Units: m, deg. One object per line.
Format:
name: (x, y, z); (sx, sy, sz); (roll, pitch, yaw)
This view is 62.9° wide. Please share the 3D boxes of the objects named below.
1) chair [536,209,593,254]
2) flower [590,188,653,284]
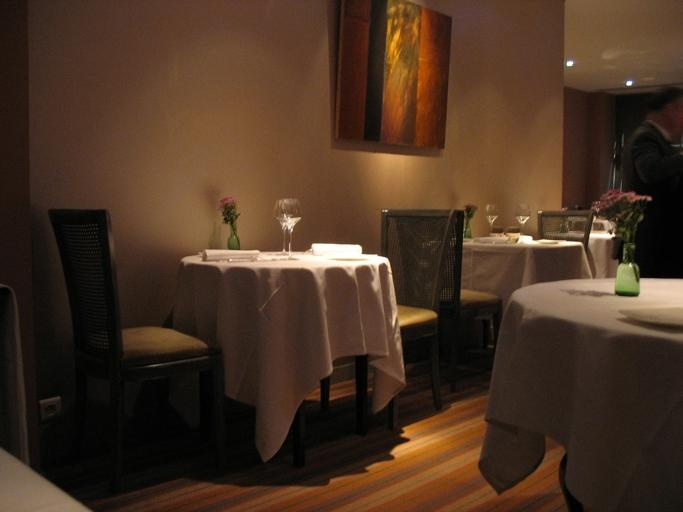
chair: (2.084, -0.288, 5.248); (0.412, 0.692, 0.444); (5, 12, 25)
flower: (1.058, -0.054, 2.095); (0.189, 0.401, 0.183); (1, 3, -2)
